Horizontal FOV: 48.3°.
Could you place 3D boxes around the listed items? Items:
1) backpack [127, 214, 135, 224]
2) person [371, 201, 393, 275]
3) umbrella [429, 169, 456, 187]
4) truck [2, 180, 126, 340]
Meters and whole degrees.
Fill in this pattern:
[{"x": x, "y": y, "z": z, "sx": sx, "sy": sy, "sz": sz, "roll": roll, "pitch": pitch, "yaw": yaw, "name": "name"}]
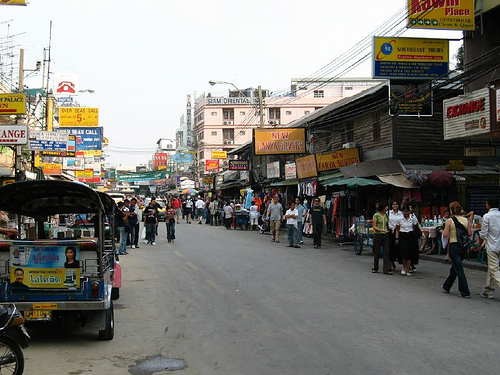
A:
[{"x": -5.007, "y": 1.364, "z": 23.718, "sx": 0.281, "sy": 0.439, "sz": 0.394, "roll": 0, "pitch": -3, "yaw": -11, "name": "backpack"}, {"x": 3.960, "y": 1.509, "z": 16.789, "sx": 0.626, "sy": 2.169, "sz": 0.666, "roll": -1, "pitch": -2, "yaw": 12, "name": "person"}, {"x": 8.189, "y": -0.391, "z": 23.817, "sx": 1.000, "sy": 0.722, "sz": 0.647, "roll": -1, "pitch": -3, "yaw": 13, "name": "umbrella"}, {"x": -3.585, "y": 1.135, "z": 10.714, "sx": 2.131, "sy": 2.364, "sz": 3.757, "roll": 0, "pitch": 3, "yaw": -4, "name": "truck"}]
